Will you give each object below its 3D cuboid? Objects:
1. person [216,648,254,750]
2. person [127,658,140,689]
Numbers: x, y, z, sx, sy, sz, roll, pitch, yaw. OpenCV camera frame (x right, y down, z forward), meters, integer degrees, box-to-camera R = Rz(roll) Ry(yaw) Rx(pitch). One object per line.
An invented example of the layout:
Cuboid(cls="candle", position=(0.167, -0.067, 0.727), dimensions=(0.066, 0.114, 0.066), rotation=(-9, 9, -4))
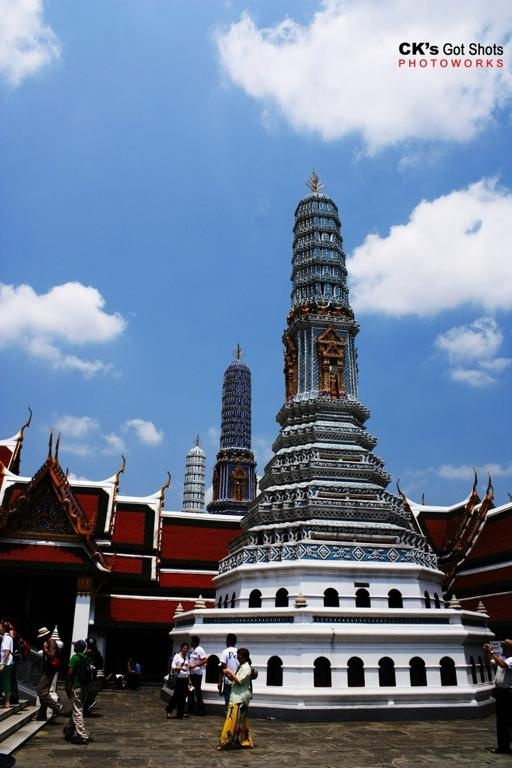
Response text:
Cuboid(cls="person", position=(-0.220, 3.918, 8.232), dimensions=(0.417, 1.148, 0.978), rotation=(3, -23, 1))
Cuboid(cls="person", position=(-3.555, 8.395, 19.054), dimensions=(0.378, 0.706, 0.910), rotation=(5, -23, -6))
